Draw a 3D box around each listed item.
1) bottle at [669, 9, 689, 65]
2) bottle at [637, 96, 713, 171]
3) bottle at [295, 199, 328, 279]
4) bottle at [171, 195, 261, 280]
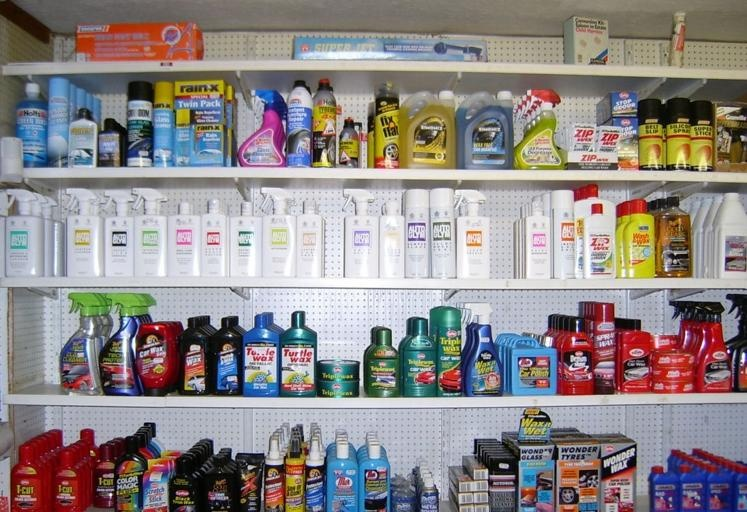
[{"bbox_3d":[1.566,-1.117,4.026,0.090,0.218,0.166,-3,-1,23],"label":"bottle"},{"bbox_3d":[1.521,-0.609,3.946,0.388,0.323,0.145,1,-4,-8],"label":"bottle"},{"bbox_3d":[-0.322,-0.084,3.867,0.143,0.389,0.145,-2,-2,0],"label":"bottle"},{"bbox_3d":[-0.792,-0.081,3.876,0.454,0.371,0.070,-2,-2,6],"label":"bottle"}]
